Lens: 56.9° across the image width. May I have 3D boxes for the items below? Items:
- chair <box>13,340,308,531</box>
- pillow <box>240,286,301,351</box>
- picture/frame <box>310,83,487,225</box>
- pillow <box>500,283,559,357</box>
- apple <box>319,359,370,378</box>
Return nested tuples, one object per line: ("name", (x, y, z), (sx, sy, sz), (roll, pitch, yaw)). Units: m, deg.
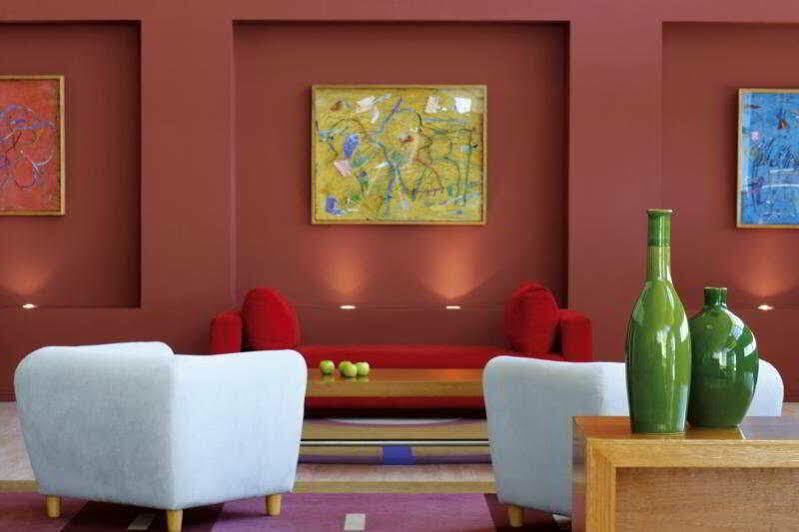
("chair", (-1.371, 0.696, 4.426), (1.405, 0.981, 1.142), (-2, -3, 35))
("pillow", (-1.121, 0.488, 6.502), (0.416, 0.549, 0.813), (7, -10, 1))
("picture/frame", (-0.064, -1.101, 7.111), (1.381, 1.004, 0.048), (0, -2, 0))
("pillow", (1.259, 0.366, 6.452), (0.384, 0.612, 0.702), (-2, 17, 21))
("apple", (-0.420, 0.771, 5.537), (0.319, 0.105, 0.156), (3, -2, 5))
